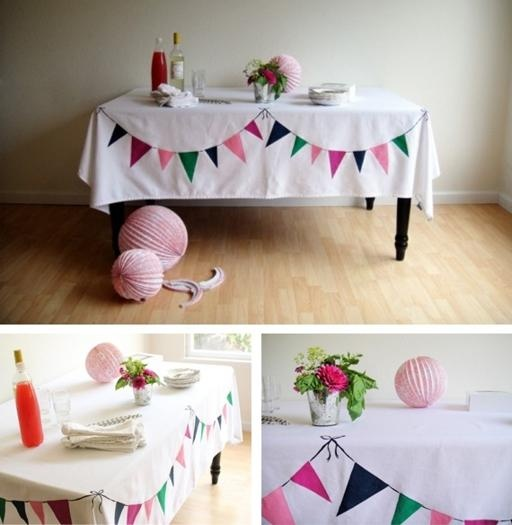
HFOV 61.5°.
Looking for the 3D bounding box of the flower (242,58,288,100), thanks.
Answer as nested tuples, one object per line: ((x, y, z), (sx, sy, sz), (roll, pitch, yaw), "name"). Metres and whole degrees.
((0.035, -0.985, 2.259), (0.267, 0.127, 0.207), (48, 21, 29), "flower")

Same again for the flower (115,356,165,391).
((-0.511, 0.476, 1.831), (0.155, 0.125, 0.223), (8, 4, 0), "flower")

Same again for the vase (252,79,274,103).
((0.046, -0.873, 2.213), (0.075, 0.081, 0.098), (-16, 40, -21), "vase")

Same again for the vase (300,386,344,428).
((0.257, 0.524, 1.588), (0.091, 0.139, 0.119), (-1, -8, 1), "vase")

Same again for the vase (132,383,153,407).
((-0.473, 0.559, 1.810), (0.071, 0.116, 0.091), (1, 18, -2), "vase")
